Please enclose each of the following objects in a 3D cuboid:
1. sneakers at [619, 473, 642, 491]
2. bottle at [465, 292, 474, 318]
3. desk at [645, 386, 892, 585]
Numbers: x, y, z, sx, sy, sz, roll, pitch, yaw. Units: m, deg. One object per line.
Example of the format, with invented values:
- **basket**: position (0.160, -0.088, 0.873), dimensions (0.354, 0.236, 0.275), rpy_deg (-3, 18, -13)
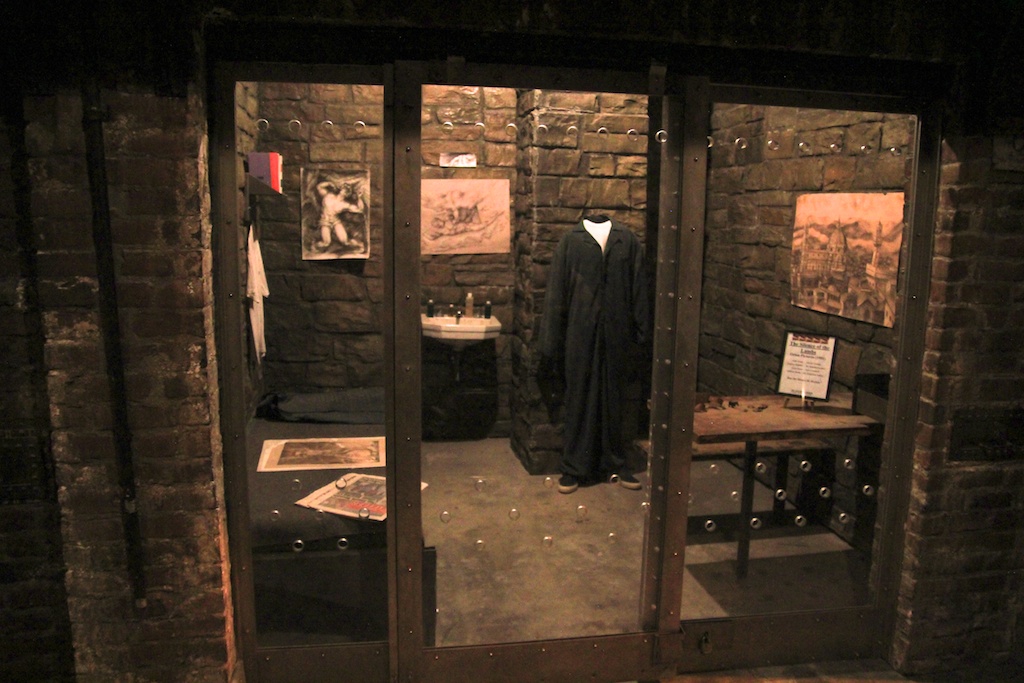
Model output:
- **sneakers**: position (0.494, 0.587, 3.535), dimensions (0.121, 0.046, 0.046), rpy_deg (0, 1, 35)
- **bottle**: position (-0.168, -0.147, 3.302), dimensions (0.039, 0.096, 0.026), rpy_deg (-1, 10, 2)
- **desk**: position (1.154, 0.598, 3.754), dimensions (0.758, 0.523, 0.749), rpy_deg (0, 7, -5)
